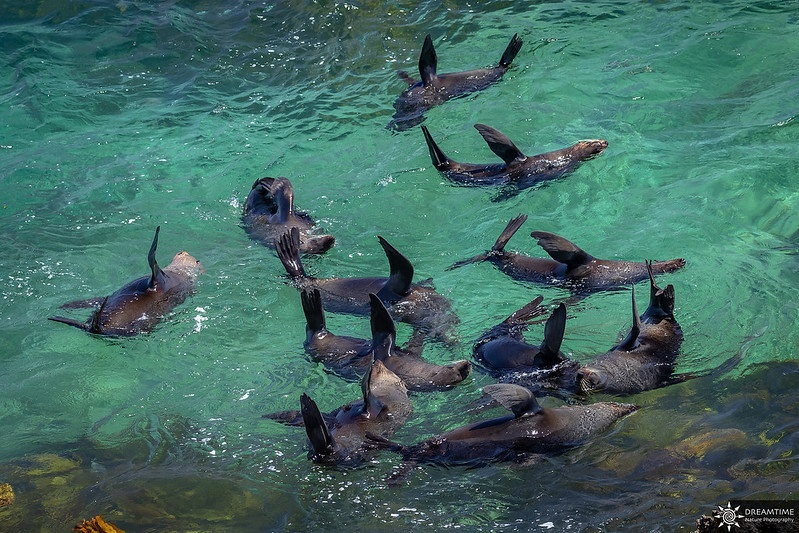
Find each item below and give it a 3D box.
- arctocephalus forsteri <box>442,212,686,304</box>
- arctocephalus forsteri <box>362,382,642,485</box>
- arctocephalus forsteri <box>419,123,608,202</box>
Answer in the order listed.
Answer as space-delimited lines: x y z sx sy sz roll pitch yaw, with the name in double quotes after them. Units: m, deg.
2.371 -0.126 13.879 2.366 0.557 1.266 3 9 26 "arctocephalus forsteri"
1.211 1.930 11.697 3.588 0.929 0.953 -5 22 -19 "arctocephalus forsteri"
1.407 -1.660 15.619 3.254 1.083 1.129 -5 20 21 "arctocephalus forsteri"
